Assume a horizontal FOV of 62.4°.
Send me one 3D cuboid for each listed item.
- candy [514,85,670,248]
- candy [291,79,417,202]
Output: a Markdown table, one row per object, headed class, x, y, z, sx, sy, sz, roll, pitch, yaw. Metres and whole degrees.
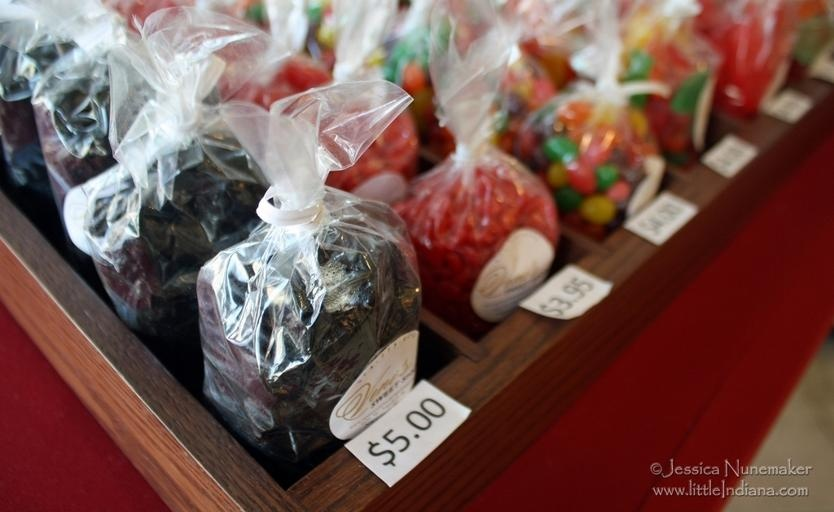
| class | x | y | z | sx | sy | sz | roll | pitch | yaw |
| --- | --- | --- | --- | --- | --- | --- | --- | --- | --- |
| candy | 0.340 | -0.166 | 1.476 | 0.170 | 0.322 | 0.281 | -12 | 42 | -12 |
| candy | -0.116 | -0.220 | 1.512 | 0.255 | 0.245 | 0.165 | 33 | 51 | 28 |
